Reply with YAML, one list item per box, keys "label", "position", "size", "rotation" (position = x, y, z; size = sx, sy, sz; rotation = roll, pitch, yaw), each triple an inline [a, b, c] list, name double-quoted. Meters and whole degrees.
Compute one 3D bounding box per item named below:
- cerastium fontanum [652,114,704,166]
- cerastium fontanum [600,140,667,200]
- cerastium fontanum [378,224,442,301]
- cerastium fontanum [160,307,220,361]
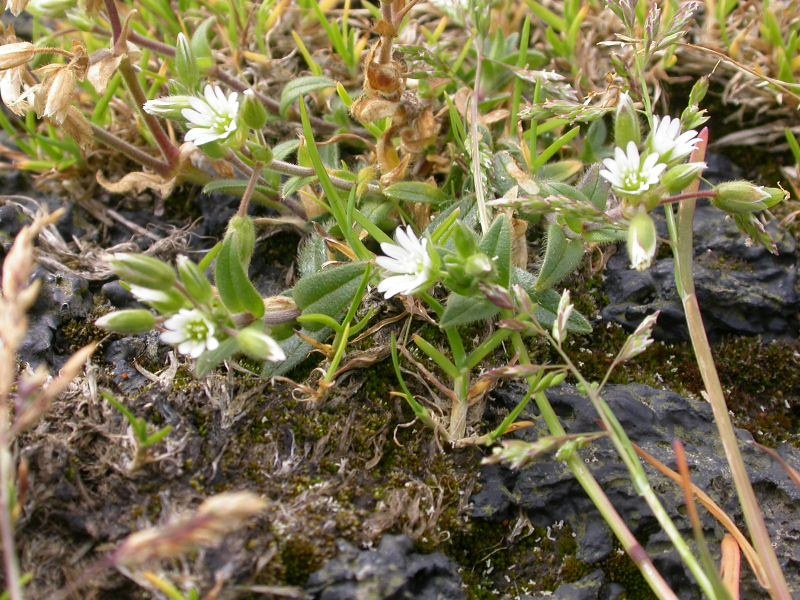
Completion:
- label: "cerastium fontanum"
  position: [0.887, -0.504, 2.525]
  size: [0.161, 0.100, 0.169]
  rotation: [21, 81, 6]
- label: "cerastium fontanum"
  position: [0.736, -0.400, 2.413]
  size: [0.169, 0.083, 0.196]
  rotation: [-4, 83, 14]
- label: "cerastium fontanum"
  position: [0.015, -0.108, 2.409]
  size: [0.199, 0.124, 0.184]
  rotation: [-34, 70, -22]
- label: "cerastium fontanum"
  position: [-0.634, 0.121, 2.361]
  size: [0.150, 0.203, 0.126]
  rotation: [-9, 61, -11]
